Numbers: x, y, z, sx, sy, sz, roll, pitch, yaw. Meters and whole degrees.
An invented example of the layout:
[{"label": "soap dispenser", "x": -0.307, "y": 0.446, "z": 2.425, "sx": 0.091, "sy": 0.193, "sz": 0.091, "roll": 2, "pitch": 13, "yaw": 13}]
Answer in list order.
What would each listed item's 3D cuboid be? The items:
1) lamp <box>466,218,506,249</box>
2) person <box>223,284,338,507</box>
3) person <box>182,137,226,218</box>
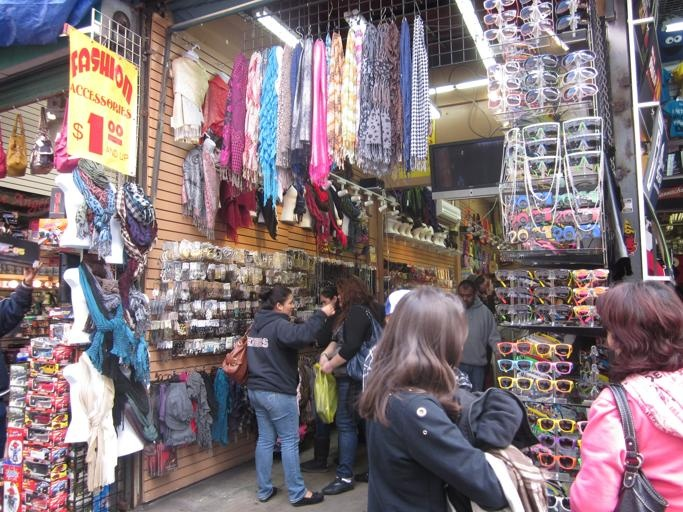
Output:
[{"label": "lamp", "x": 2.630, "y": -0.387, "z": 10.198, "sx": 0.389, "sy": 0.237, "sz": 1.919, "roll": 27, "pitch": 5, "yaw": 29}, {"label": "person", "x": -0.534, "y": 1.182, "z": 4.721, "sx": 0.933, "sy": 1.849, "sz": 0.367, "roll": -6, "pitch": -4, "yaw": 25}, {"label": "person", "x": -1.232, "y": -0.682, "z": 5.049, "sx": 0.367, "sy": 0.875, "sz": 0.181, "roll": 5, "pitch": -27, "yaw": -20}]
